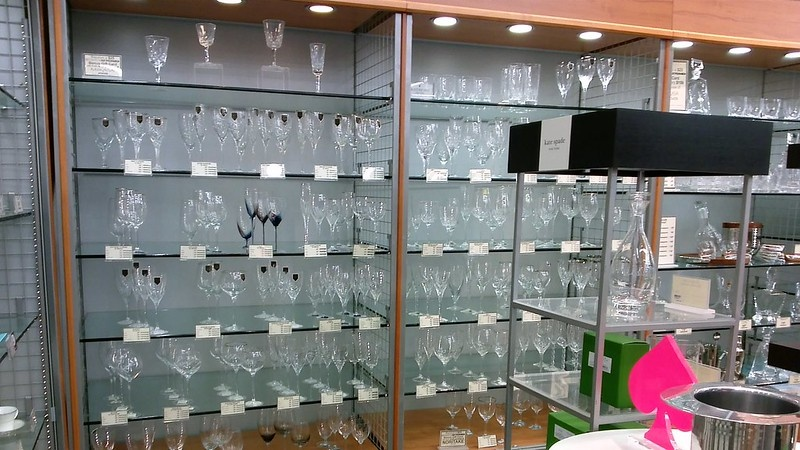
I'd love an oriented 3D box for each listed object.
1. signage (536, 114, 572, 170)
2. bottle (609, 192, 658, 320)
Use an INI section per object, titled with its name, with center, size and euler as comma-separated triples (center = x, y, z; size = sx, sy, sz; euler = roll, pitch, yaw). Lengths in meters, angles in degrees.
[signage]
center = 0.972, -0.501, 3.650
size = 0.034, 0.253, 0.344
euler = 2, -8, -27
[bottle]
center = 1.442, 0.198, 3.616
size = 0.273, 0.789, 0.228
euler = -1, 2, 19
